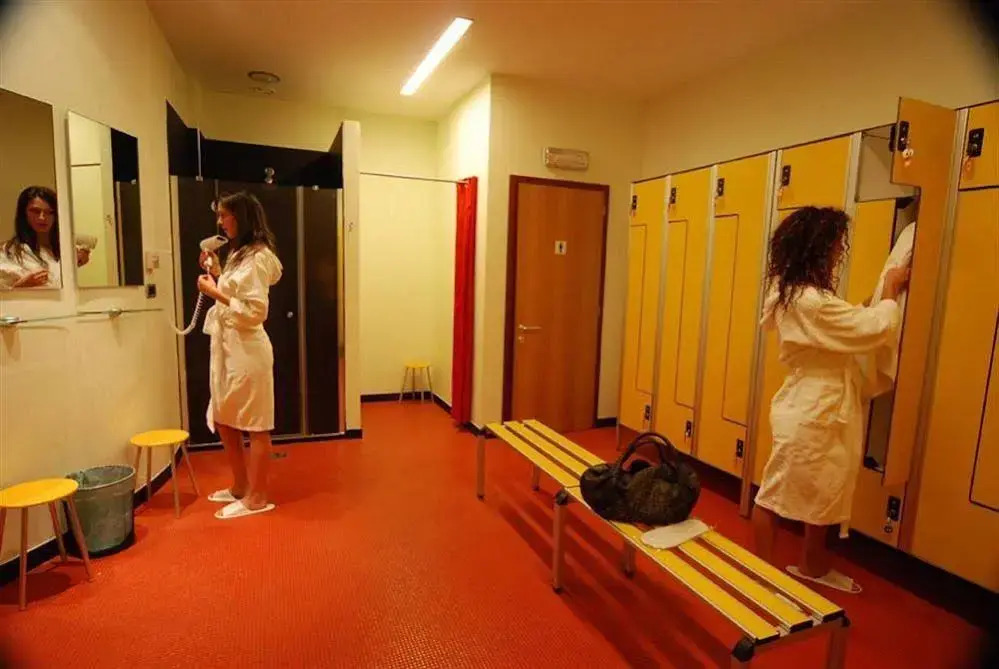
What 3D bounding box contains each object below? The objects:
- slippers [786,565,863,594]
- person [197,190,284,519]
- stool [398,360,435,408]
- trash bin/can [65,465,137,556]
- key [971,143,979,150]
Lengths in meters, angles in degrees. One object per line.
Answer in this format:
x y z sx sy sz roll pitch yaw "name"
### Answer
2.154 1.654 4.573 0.495 0.020 0.168 10 13 41 "slippers"
-1.912 0.165 5.050 0.536 2.402 0.390 0 10 -9 "person"
-0.953 0.544 7.973 0.382 0.558 0.431 1 -2 1 "stool"
-2.643 1.200 4.811 0.474 0.575 0.515 -1 10 -6 "trash bin/can"
2.936 -1.167 4.218 0.037 0.039 0.009 -1 -5 34 "key"
